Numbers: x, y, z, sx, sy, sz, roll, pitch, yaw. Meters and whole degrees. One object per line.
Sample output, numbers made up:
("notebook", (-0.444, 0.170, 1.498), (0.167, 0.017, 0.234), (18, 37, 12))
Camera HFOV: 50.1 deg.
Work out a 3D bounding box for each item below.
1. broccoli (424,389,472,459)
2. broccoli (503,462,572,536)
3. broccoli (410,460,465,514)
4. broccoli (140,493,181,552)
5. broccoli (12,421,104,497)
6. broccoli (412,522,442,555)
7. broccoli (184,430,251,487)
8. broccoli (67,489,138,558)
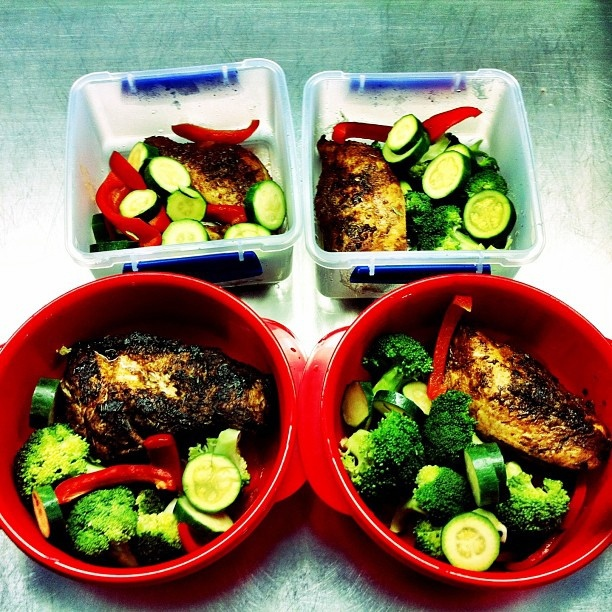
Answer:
("broccoli", (0.449, 0.369, 2.032), (0.166, 0.059, 0.195), (-2, 69, 32))
("broccoli", (0.715, 0.613, 2.057), (0.203, 0.251, 0.118), (-5, 94, 30))
("broccoli", (0.419, 0.565, 1.977), (0.175, 0.069, 0.153), (21, 65, 11))
("broccoli", (-0.443, 0.652, 1.950), (0.136, 0.063, 0.146), (5, 67, -6))
("broccoli", (-0.793, 0.471, 2.021), (0.232, 0.087, 0.167), (-30, 66, -14))
("broccoli", (0.376, 0.702, 1.970), (0.090, 0.038, 0.083), (-2, 70, 10))
("broccoli", (-0.265, 0.462, 2.038), (0.208, 0.063, 0.175), (11, 80, 5))
("broccoli", (-0.608, 0.638, 1.949), (0.208, 0.071, 0.176), (-27, 65, -13))
